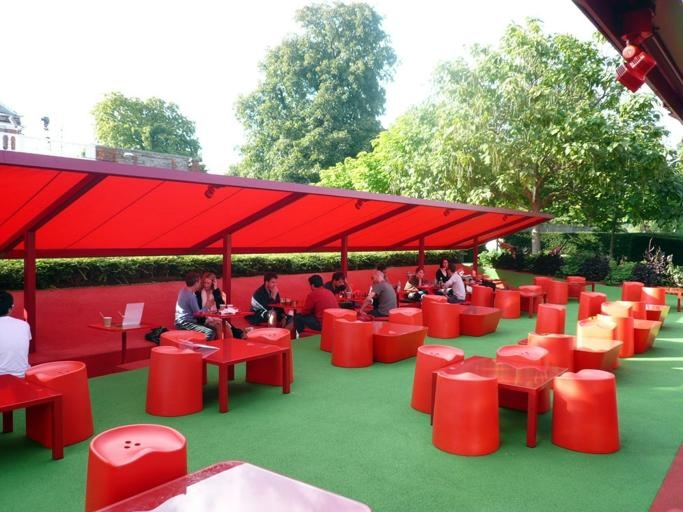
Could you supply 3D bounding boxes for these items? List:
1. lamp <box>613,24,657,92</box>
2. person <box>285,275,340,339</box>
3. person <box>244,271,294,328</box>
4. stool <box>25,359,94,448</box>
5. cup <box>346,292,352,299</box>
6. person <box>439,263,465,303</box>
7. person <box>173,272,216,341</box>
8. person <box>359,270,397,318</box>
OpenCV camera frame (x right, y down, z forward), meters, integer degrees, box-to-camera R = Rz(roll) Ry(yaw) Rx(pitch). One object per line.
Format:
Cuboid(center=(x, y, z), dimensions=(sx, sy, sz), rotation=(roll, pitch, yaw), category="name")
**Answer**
Cuboid(center=(3.023, -2.141, 5.316), dimensions=(0.225, 0.456, 0.175), rotation=(2, 22, 18), category="lamp")
Cuboid(center=(-0.442, 1.196, 10.626), dimensions=(0.715, 1.612, 0.943), rotation=(-9, 14, -43), category="person")
Cuboid(center=(-1.462, 0.953, 10.589), dimensions=(0.996, 1.207, 0.913), rotation=(-2, 16, -16), category="person")
Cuboid(center=(-3.249, 1.725, 6.064), dimensions=(0.839, 0.754, 0.857), rotation=(3, 7, 12), category="stool")
Cuboid(center=(0.182, 0.931, 11.733), dimensions=(0.118, 0.130, 0.118), rotation=(0, 0, 0), category="cup")
Cuboid(center=(2.785, 0.641, 12.764), dimensions=(0.541, 0.889, 0.547), rotation=(-15, 12, -32), category="person")
Cuboid(center=(-2.533, 0.933, 8.928), dimensions=(0.735, 1.302, 0.654), rotation=(-2, 14, -33), category="person")
Cuboid(center=(0.836, 0.911, 11.886), dimensions=(0.703, 1.289, 0.695), rotation=(16, 17, 38), category="person")
